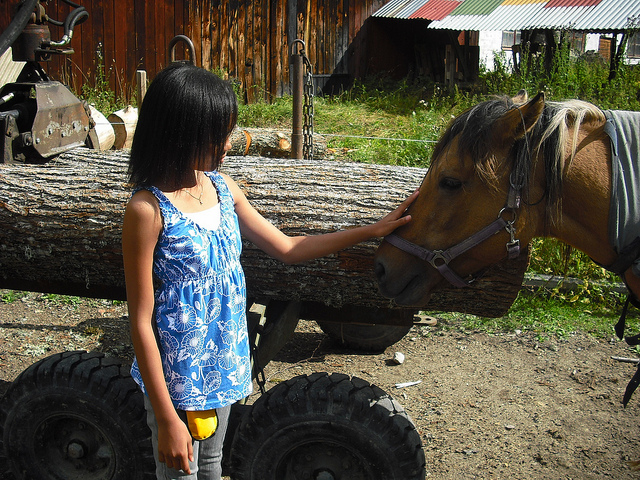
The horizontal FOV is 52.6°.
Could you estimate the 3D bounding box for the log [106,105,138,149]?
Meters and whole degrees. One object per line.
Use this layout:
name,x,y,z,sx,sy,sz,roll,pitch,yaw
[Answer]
log,-2.809,-1.538,9.162,0.294,0.543,0.433,4,17,-11

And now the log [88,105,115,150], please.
log,-2.807,-1.454,8.388,0.300,0.544,1.140,2,14,-18

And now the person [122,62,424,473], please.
person,-0.488,0.317,3.318,1.006,2.316,0.650,0,12,-25
